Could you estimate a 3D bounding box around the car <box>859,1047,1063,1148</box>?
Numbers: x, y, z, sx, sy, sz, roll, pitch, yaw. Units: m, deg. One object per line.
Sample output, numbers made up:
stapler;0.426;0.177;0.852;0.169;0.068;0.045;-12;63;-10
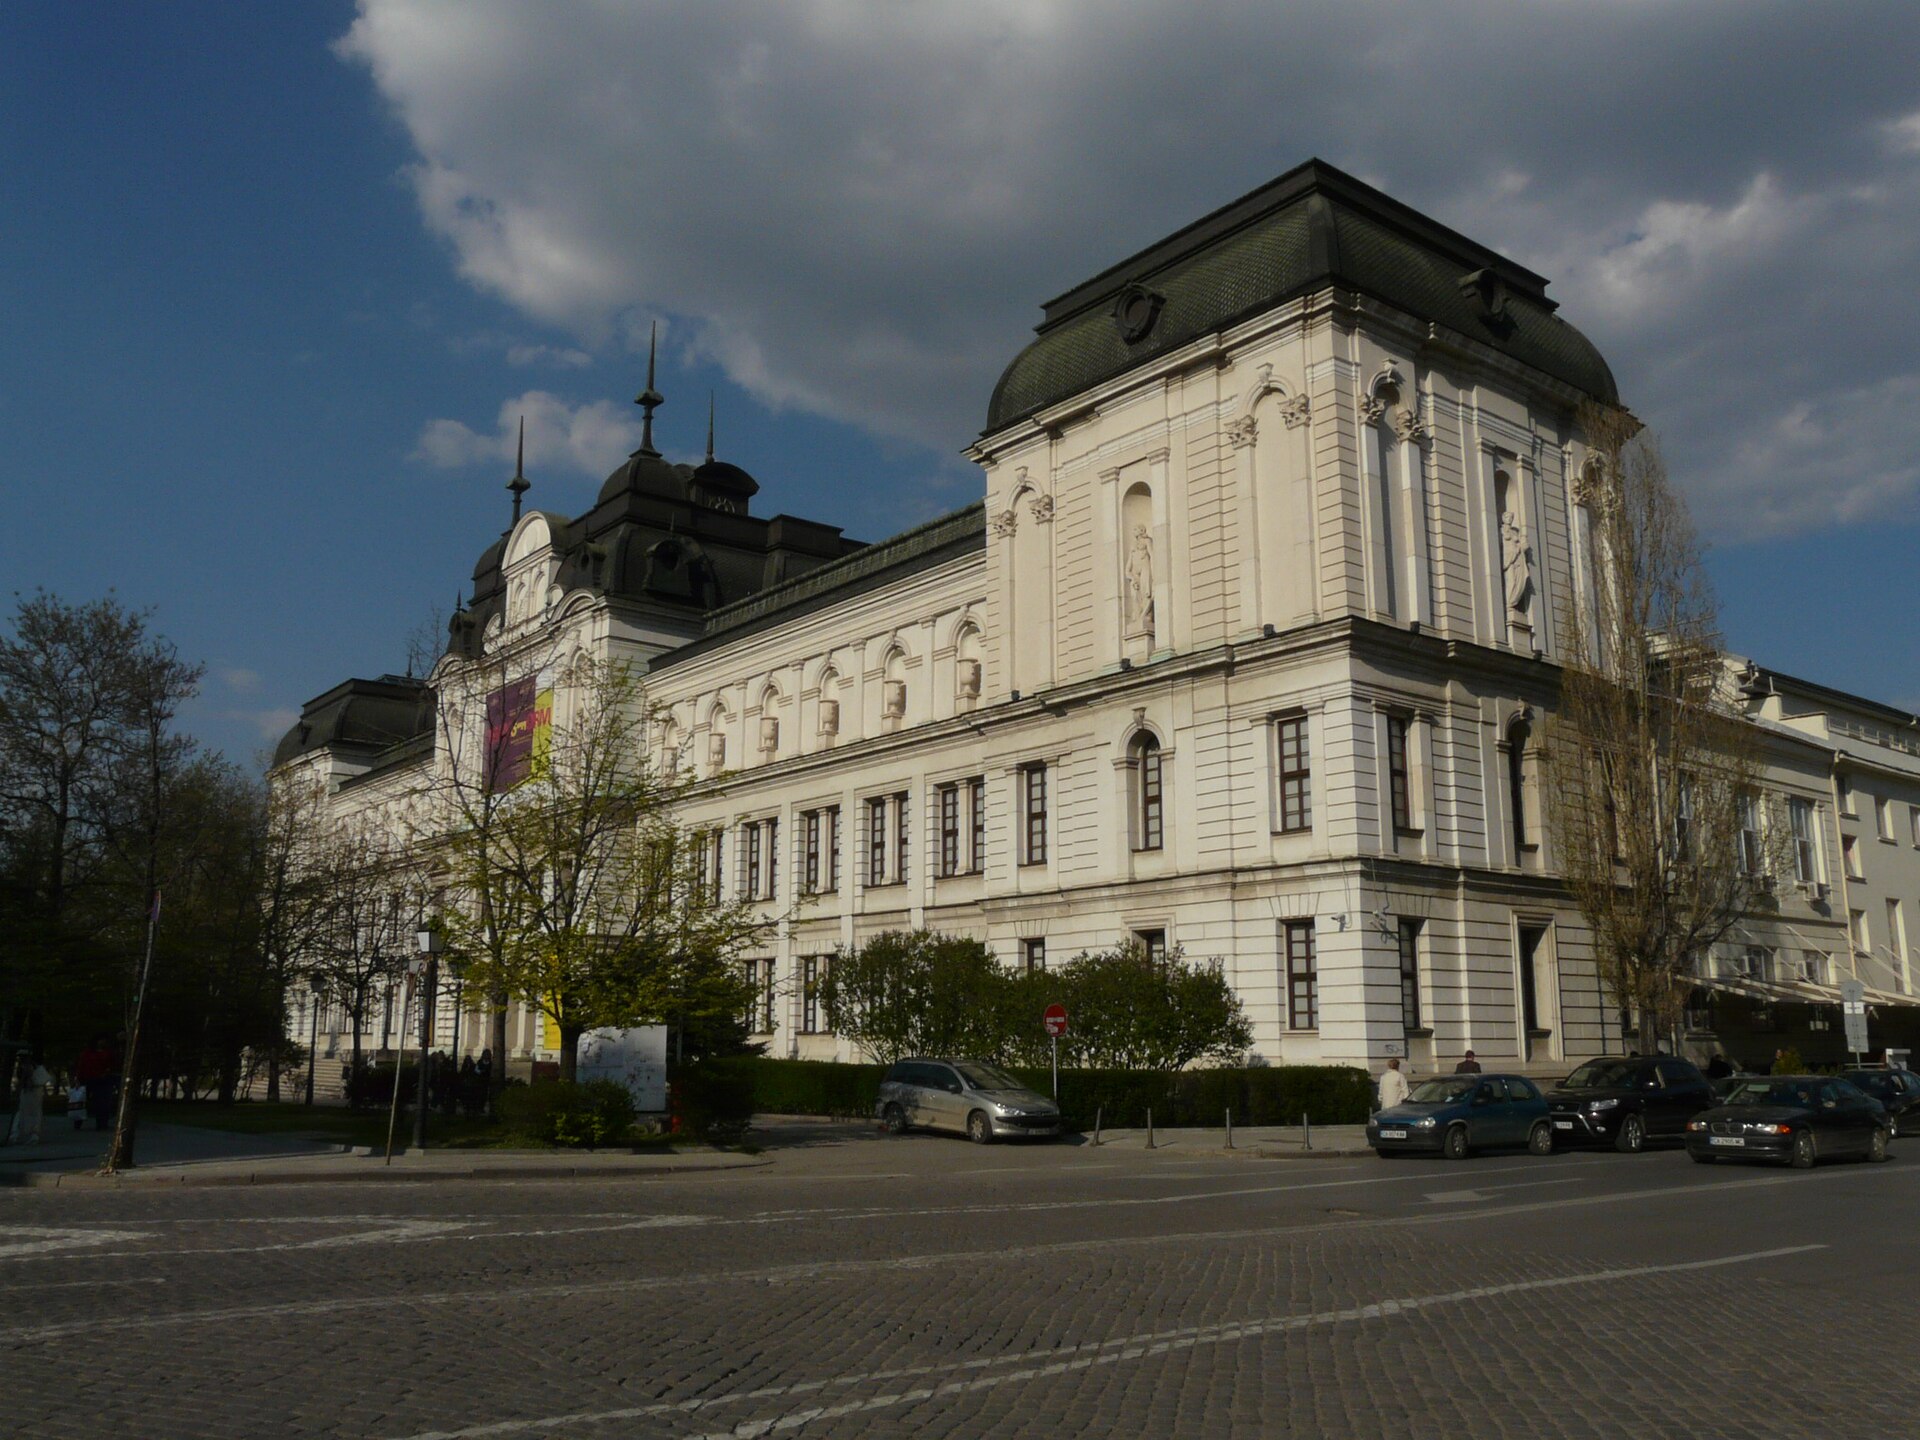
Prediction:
car;0.125;8.339;38.757;1.224;2.006;4.566;13;-21;-37
